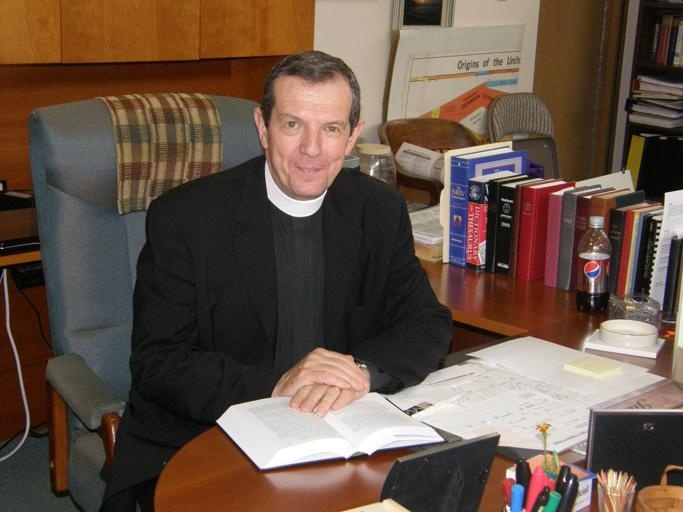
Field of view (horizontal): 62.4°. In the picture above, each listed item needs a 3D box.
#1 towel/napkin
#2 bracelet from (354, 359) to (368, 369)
[{"bbox_3d":[-0.528,-0.331,1.797,0.449,0.408,0.327,-8,27,-28],"label":"towel/napkin"},{"bbox_3d":[0.051,0.265,1.390,0.022,0.007,0.016,35,21,20],"label":"bracelet"}]
